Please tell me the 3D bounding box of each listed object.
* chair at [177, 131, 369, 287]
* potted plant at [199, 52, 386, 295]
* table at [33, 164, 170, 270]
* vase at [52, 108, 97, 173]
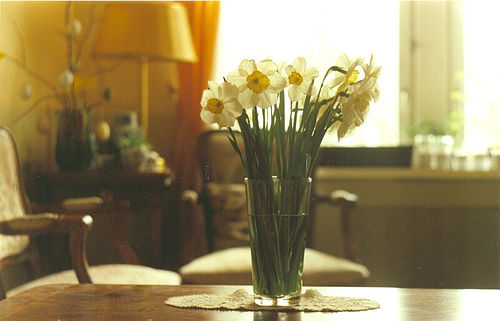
[{"bbox_3d":[-0.013,0.317,3.278,0.778,1.226,0.869,1,-7,-6],"label":"chair"},{"bbox_3d":[0.089,0.103,2.346,0.675,0.927,0.691,0,-8,21],"label":"potted plant"},{"bbox_3d":[-0.792,0.198,3.188,0.688,0.682,0.522,0,-4,-7],"label":"table"},{"bbox_3d":[-0.937,-0.111,3.066,0.211,0.333,0.190,4,-11,-37],"label":"vase"}]
